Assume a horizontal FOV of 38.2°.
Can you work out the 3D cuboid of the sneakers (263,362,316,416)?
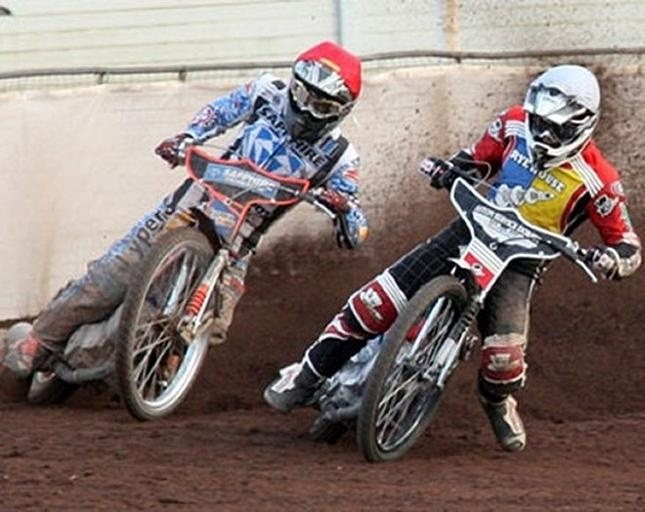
[{"bbox_3d":[-0.204,0.974,6.829,0.516,0.228,0.217,-34,2,-11],"label":"sneakers"}]

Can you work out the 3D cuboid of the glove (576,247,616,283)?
[{"bbox_3d":[1.998,0.068,6.788,0.231,0.150,0.295,11,19,-46],"label":"glove"}]

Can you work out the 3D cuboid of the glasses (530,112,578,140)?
[{"bbox_3d":[1.570,-0.870,6.400,0.344,0.168,0.110,10,12,10],"label":"glasses"}]

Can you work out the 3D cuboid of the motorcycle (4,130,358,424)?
[{"bbox_3d":[-0.833,0.021,7.235,1.624,1.303,2.704,-33,6,14],"label":"motorcycle"}]
